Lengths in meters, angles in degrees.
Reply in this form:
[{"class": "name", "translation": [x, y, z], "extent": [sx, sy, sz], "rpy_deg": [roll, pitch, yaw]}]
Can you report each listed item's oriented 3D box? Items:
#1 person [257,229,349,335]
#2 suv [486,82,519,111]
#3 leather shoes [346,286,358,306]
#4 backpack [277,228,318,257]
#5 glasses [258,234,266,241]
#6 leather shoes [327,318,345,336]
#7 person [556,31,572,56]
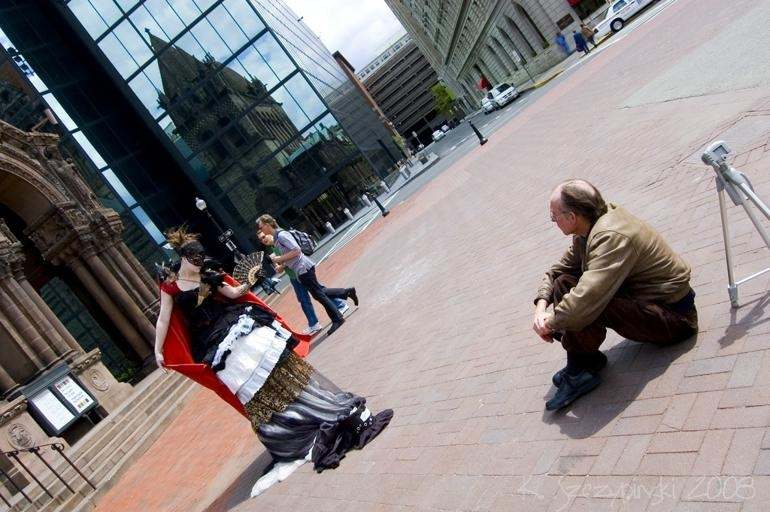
[{"class": "person", "translation": [-2.101, 0.711, 14.829], "extent": [1.030, 3.354, 1.083], "rpy_deg": [-21, 41, 27]}, {"class": "suv", "translation": [8.427, -11.535, 40.123], "extent": [1.487, 1.275, 2.795], "rpy_deg": [-27, 11, 0]}, {"class": "leather shoes", "translation": [-0.703, 0.875, 12.327], "extent": [0.205, 0.521, 0.177], "rpy_deg": [-4, 35, 9]}, {"class": "backpack", "translation": [-1.759, -0.285, 11.270], "extent": [0.600, 0.615, 0.453], "rpy_deg": [-19, 24, 0]}, {"class": "glasses", "translation": [-2.263, -0.362, 10.453], "extent": [0.105, 0.107, 0.105], "rpy_deg": [-20, 20, -32]}, {"class": "leather shoes", "translation": [-1.123, 1.538, 12.268], "extent": [0.544, 0.237, 0.192], "rpy_deg": [-36, 13, 35]}, {"class": "person", "translation": [11.938, -14.114, 37.584], "extent": [0.674, 1.380, 1.376], "rpy_deg": [-33, 11, 25]}]
